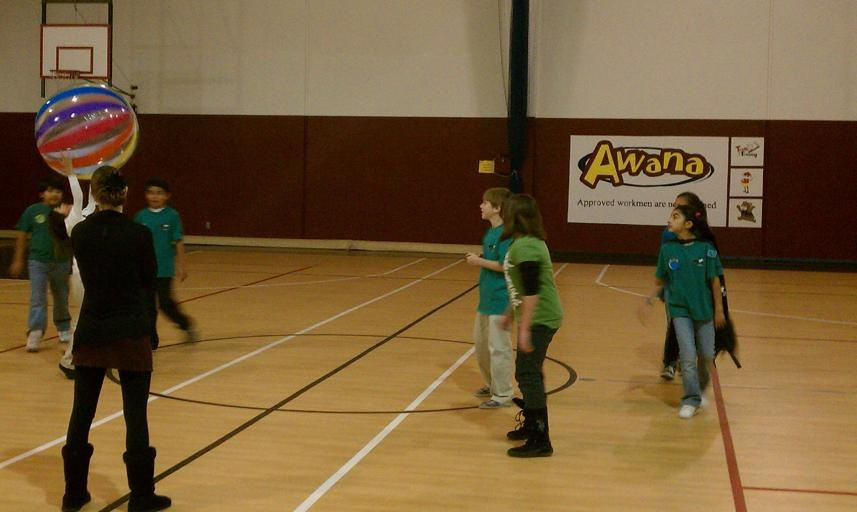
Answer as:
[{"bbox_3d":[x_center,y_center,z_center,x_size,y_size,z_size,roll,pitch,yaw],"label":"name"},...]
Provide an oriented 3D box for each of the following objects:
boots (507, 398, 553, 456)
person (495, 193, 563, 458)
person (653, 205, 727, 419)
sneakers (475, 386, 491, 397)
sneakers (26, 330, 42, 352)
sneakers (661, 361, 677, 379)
[{"bbox_3d":[1.067,1.824,7.820,0.483,0.557,0.586,2,2,3],"label":"boots"},{"bbox_3d":[1.046,0.735,7.598,0.589,2.607,0.668,1,14,5],"label":"person"},{"bbox_3d":[2.995,0.595,8.606,0.732,2.319,0.721,-12,18,-41],"label":"person"},{"bbox_3d":[0.663,1.658,8.928,0.206,0.089,0.070,2,1,6],"label":"sneakers"},{"bbox_3d":[-5.452,1.183,10.173,0.178,0.323,0.118,8,-24,-13],"label":"sneakers"},{"bbox_3d":[3.106,1.476,9.501,0.163,0.204,0.491,-4,-9,21],"label":"sneakers"}]
